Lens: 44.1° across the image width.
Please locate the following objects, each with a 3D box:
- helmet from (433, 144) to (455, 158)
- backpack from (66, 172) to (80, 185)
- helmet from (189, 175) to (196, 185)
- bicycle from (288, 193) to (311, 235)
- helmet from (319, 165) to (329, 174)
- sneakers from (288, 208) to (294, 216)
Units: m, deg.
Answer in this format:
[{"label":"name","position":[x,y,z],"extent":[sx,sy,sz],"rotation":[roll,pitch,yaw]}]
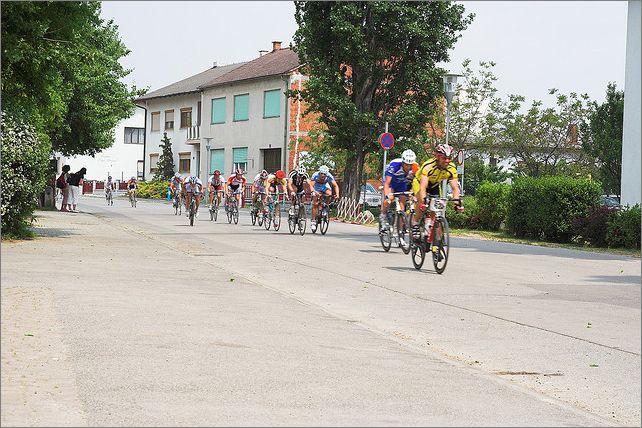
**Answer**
[{"label":"helmet","position":[2.521,-1.327,16.433],"extent":[0.328,0.179,0.471],"rotation":[4,34,-14]},{"label":"backpack","position":[-11.178,-1.589,36.221],"extent":[0.626,0.393,0.586],"rotation":[-8,-38,-32]},{"label":"helmet","position":[-4.850,-1.291,30.307],"extent":[0.278,0.321,0.582],"rotation":[1,6,-25]},{"label":"bicycle","position":[-0.719,-0.012,25.232],"extent":[0.393,1.372,1.083],"rotation":[2,6,-13]},{"label":"helmet","position":[0.118,-1.353,24.320],"extent":[0.362,0.164,0.498],"rotation":[3,4,-4]},{"label":"sneakers","position":[-0.941,-0.067,25.811],"extent":[0.228,0.272,0.658],"rotation":[1,-2,-6]}]
